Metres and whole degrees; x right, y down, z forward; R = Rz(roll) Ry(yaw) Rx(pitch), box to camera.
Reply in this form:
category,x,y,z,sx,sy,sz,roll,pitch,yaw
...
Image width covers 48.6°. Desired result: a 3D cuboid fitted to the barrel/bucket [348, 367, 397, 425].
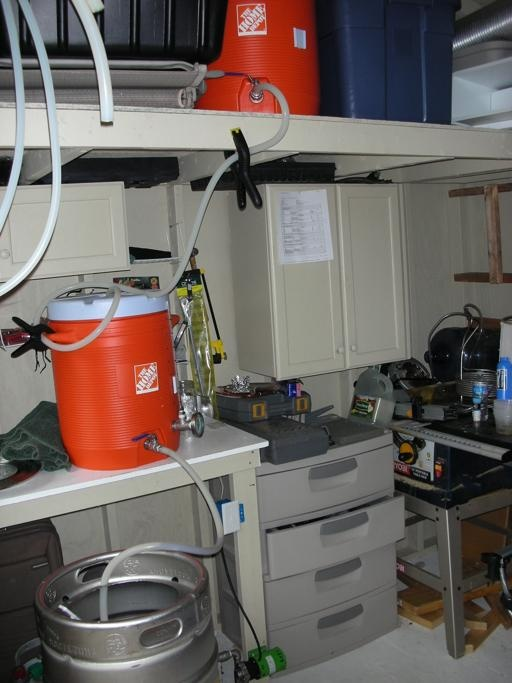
category,x,y,z,sx,sy,sz,roll,pitch,yaw
barrel/bucket,0.491,0.227,2.343,0.110,0.270,0.192,27,-20,-32

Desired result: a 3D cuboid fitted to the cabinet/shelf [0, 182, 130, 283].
category,x,y,z,sx,sy,sz,roll,pitch,yaw
cabinet/shelf,-0.567,-0.310,1.702,0.465,0.311,0.260,-2,4,-28

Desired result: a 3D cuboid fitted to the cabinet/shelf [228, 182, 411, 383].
category,x,y,z,sx,sy,sz,roll,pitch,yaw
cabinet/shelf,0.234,-0.242,2.133,0.754,0.842,0.417,-6,8,-26

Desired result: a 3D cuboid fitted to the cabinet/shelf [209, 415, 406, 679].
category,x,y,z,sx,sy,sz,roll,pitch,yaw
cabinet/shelf,0.185,0.729,2.090,0.603,0.741,0.544,-5,6,-24

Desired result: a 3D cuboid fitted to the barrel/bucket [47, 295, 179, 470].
category,x,y,z,sx,sy,sz,roll,pitch,yaw
barrel/bucket,-0.367,0.107,1.456,0.423,0.358,0.257,-11,14,-41
